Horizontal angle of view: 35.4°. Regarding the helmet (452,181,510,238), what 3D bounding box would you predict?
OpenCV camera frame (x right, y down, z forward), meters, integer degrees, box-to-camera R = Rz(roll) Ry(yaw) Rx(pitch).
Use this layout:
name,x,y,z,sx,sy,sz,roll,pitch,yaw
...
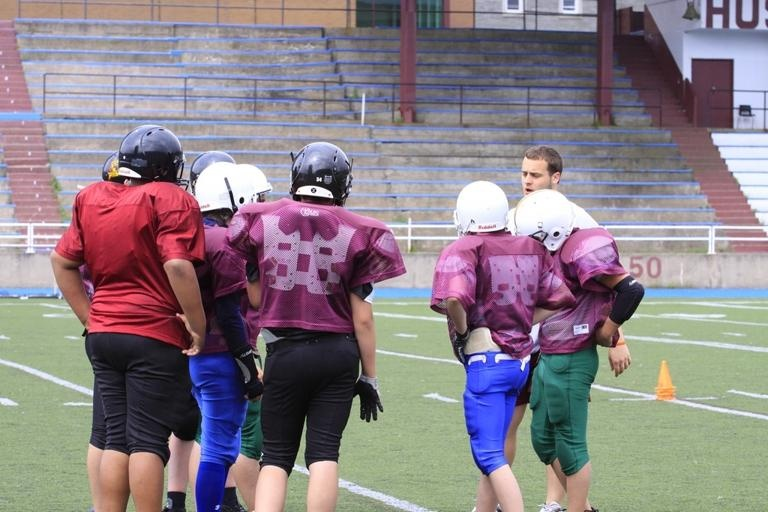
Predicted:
name,x,y,z,sx,sy,sz,roll,pitch,yaw
helmet,1.064,-0.481,13.014,0.534,0.516,0.632,-2,26,-3

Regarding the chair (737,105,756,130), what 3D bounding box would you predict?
name,x,y,z,sx,sy,sz,roll,pitch,yaw
chair,11.179,-4.295,37.081,0.524,0.741,0.827,1,7,14

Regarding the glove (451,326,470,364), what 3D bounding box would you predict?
name,x,y,z,sx,sy,sz,roll,pitch,yaw
glove,0.795,0.993,13.051,0.258,0.304,0.167,-6,11,-37
